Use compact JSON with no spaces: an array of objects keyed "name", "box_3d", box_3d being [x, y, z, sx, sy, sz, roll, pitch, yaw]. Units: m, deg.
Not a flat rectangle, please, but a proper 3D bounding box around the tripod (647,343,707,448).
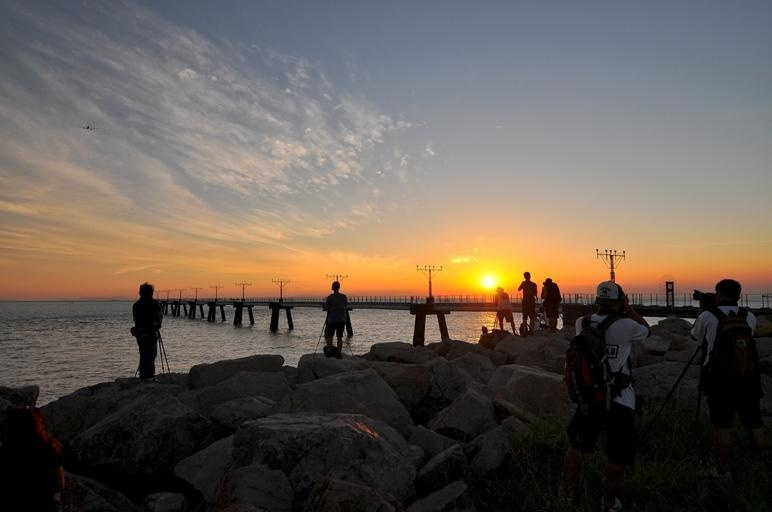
[{"name":"tripod","box_3d":[6.118,2.993,11.067,0.218,2.278,0.244,42,17,32]}]
